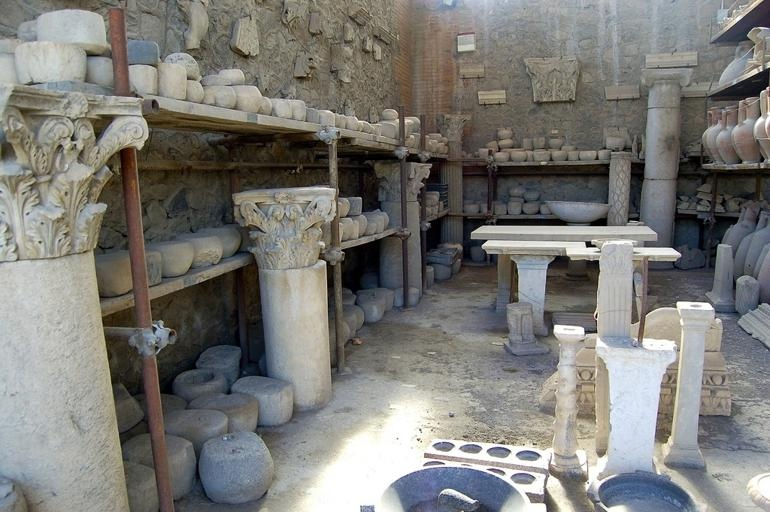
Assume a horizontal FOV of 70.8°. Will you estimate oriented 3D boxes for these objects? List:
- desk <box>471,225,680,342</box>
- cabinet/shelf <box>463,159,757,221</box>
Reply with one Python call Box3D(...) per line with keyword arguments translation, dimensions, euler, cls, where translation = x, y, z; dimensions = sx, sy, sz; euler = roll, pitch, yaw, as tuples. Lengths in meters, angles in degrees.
Box3D(translation=(2.173, 0.225, 6.930), dimensions=(2.100, 1.366, 2.750), euler=(0, 14, 7), cls="desk")
Box3D(translation=(4.057, -1.362, 10.485), dimensions=(5.205, 1.092, 0.852), euler=(3, 15, 18), cls="cabinet/shelf")
